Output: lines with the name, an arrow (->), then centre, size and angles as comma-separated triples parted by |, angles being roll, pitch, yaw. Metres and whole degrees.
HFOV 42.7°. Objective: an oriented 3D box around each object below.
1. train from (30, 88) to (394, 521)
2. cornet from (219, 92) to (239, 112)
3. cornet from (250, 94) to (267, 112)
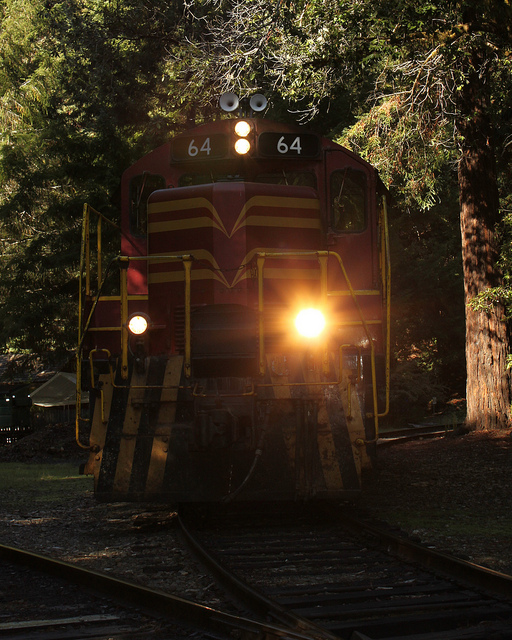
train -> -0.724, -0.475, 7.671 | 2.427, 3.032, 5.883 | 0, 9, -16
cornet -> -0.283, -2.346, 7.028 | 0.196, 0.270, 0.235 | 4, -14, -5
cornet -> 0.034, -2.301, 6.959 | 0.180, 0.175, 0.202 | 13, 2, -5
